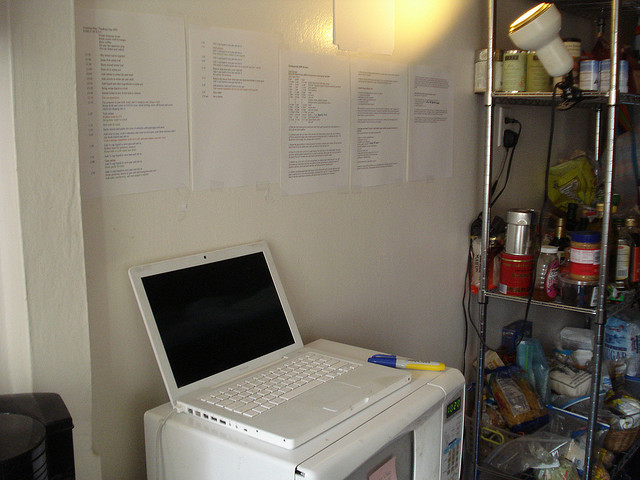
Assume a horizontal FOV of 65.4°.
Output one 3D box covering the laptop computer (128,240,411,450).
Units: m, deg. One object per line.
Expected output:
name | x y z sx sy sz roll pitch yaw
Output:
laptop computer | -0.109 0.200 1.219 0.502 0.345 0.557 -7 4 -45

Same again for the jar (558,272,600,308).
jar | 0.919 0.168 1.765 0.109 0.085 0.111 -6 11 1

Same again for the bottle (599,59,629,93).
bottle | 0.998 -0.557 1.703 0.086 0.121 0.195 -2 10 36

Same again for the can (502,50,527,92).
can | 0.767 -0.667 1.972 0.100 0.165 0.038 -4 9 23

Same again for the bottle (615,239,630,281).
bottle | 1.097 0.073 1.814 0.059 0.151 0.016 -10 8 -17

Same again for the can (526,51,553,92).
can | 0.858 -0.656 1.952 0.106 0.167 0.071 -6 8 10

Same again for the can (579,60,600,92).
can | 0.944 -0.574 1.754 0.062 0.104 0.061 -2 12 0

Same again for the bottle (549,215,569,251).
bottle | 0.918 -0.025 1.929 0.063 0.117 0.128 -2 10 36

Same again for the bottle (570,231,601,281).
bottle | 0.938 0.058 1.769 0.100 0.173 0.105 -2 8 0

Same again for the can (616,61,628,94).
can | 1.039 -0.561 1.708 0.056 0.096 0.056 -8 17 3

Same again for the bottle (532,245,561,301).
bottle | 0.848 0.125 1.866 0.097 0.263 0.168 1 7 21

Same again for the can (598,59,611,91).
can | 0.966 -0.560 1.698 0.041 0.106 0.119 -3 10 30

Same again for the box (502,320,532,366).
box | 0.891 0.488 2.289 0.060 0.167 0.188 8 3 40
